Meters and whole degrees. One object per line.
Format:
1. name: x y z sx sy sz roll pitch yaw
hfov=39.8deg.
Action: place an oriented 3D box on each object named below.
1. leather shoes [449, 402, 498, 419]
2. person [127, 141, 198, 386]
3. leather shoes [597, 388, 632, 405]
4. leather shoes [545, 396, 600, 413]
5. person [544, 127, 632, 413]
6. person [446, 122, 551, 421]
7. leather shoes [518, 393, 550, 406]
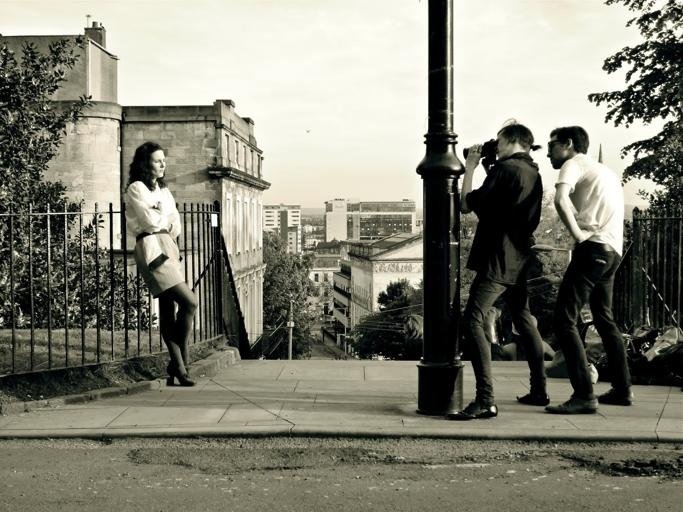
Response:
1. leather shoes: 1.204 1.406 8.556 0.433 0.168 0.163 3 -11 -5
2. person: -1.831 0.095 9.556 0.673 2.510 0.548 -1 0 -14
3. leather shoes: 2.636 1.366 9.098 0.345 0.144 0.131 2 0 36
4. leather shoes: 2.146 1.393 8.769 0.479 0.203 0.169 2 -10 2
5. person: 2.295 0.114 8.817 0.757 2.375 0.903 -1 0 17
6. person: 1.467 0.099 8.701 0.800 2.279 0.998 -1 0 13
7. leather shoes: 1.860 1.389 9.159 0.317 0.135 0.120 5 1 25
